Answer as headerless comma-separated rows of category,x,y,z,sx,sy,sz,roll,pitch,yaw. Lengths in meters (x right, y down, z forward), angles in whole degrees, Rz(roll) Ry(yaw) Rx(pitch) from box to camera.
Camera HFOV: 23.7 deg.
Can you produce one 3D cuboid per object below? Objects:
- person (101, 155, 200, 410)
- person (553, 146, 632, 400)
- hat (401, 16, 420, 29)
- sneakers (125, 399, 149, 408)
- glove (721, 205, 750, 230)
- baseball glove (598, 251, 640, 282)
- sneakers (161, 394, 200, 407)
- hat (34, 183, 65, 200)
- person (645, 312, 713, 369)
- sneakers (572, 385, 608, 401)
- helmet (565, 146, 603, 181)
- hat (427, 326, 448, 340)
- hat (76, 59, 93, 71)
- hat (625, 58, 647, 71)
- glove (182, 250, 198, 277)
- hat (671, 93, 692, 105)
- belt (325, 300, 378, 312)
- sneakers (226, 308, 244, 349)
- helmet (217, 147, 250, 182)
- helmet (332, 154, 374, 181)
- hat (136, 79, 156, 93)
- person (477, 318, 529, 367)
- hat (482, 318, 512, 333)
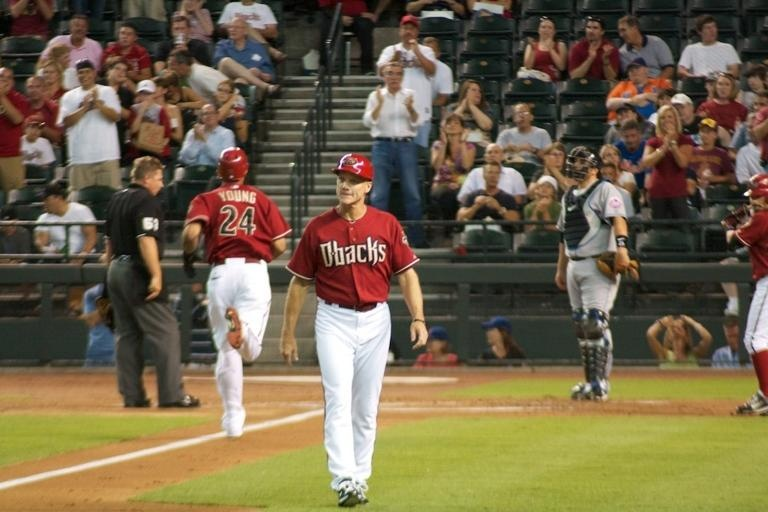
person,-3.271,0.377,24.950,1.400,3.379,1.061,1,0,43
person,2.889,0.230,25.142,0.815,3.455,1.045,-8,16,-28
hat,0.437,-3.742,28.757,0.268,0.184,0.367,2,-17,2
sneakers,-3.357,2.011,24.875,0.211,0.075,0.155,4,-2,-3
glove,4.893,-0.527,25.153,0.275,0.155,0.432,-21,-13,-28
baseball glove,3.239,0.110,24.931,0.521,0.192,0.362,9,8,-2
sneakers,-2.743,1.959,24.764,0.566,0.217,0.182,-4,2,-8
hat,-5.082,-1.006,27.803,0.375,0.181,0.239,0,4,6
person,4.514,1.219,27.384,0.844,1.196,0.421,-2,-8,7
sneakers,2.868,1.848,25.107,0.356,0.145,0.251,1,2,7
helmet,2.777,-1.307,25.188,0.454,0.465,0.578,9,2,41
hat,0.848,1.148,27.656,0.267,0.121,0.165,15,14,12
hat,-4.652,-2.984,28.376,0.215,0.150,0.218,-4,6,-44
hat,4.182,-3.165,29.733,0.203,0.158,0.326,-15,1,37
glove,-2.531,0.093,23.941,0.141,0.427,0.172,-6,37,-8
hat,4.698,-2.464,28.523,0.194,0.150,0.295,-22,-11,29
belt,-0.379,0.583,21.767,0.622,0.118,0.087,-1,14,-1
sneakers,-1.891,0.922,23.234,0.255,0.448,0.172,-3,11,33
helmet,-1.976,-1.165,23.862,0.478,0.494,0.591,-1,17,-5
helmet,-0.242,-1.093,21.776,0.425,0.209,0.320,24,-9,-38
hat,-3.740,-2.692,28.714,0.286,0.184,0.354,-2,13,-6
person,1.834,1.265,27.817,0.654,0.685,0.734,-3,-3,-18
hat,1.757,1.019,27.595,0.352,0.156,0.215,10,0,4
